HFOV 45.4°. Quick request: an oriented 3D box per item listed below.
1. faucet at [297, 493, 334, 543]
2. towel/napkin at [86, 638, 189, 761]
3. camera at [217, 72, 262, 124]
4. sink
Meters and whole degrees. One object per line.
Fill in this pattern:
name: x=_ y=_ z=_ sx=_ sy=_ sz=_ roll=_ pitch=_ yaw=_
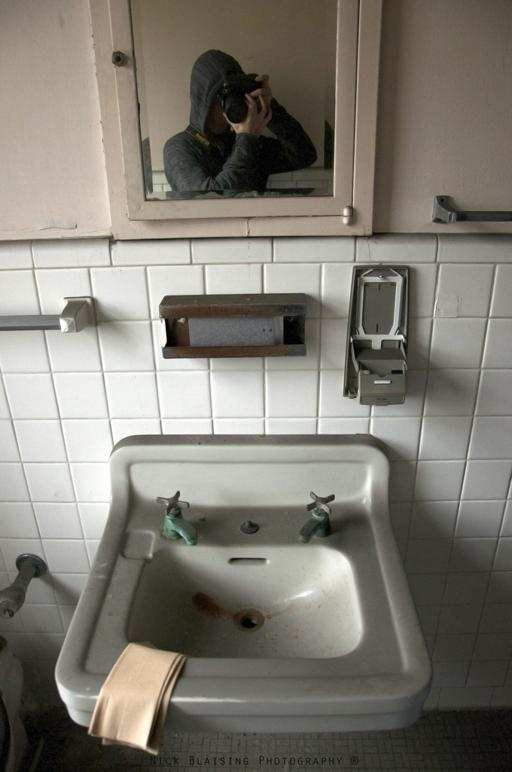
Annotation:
faucet: x=0.126 y=0.245 z=1.182 sx=0.050 sy=0.068 sz=0.102 roll=2 pitch=34 yaw=24
towel/napkin: x=-0.166 y=0.447 z=0.880 sx=0.108 sy=0.088 sz=0.115 roll=6 pitch=31 yaw=13
camera: x=-0.024 y=-0.455 z=0.969 sx=0.066 sy=0.068 sz=0.020 roll=-2 pitch=31 yaw=0
sink: x=-0.021 y=0.334 z=1.078 sx=0.562 sy=0.257 sz=0.519 roll=-1 pitch=30 yaw=1
